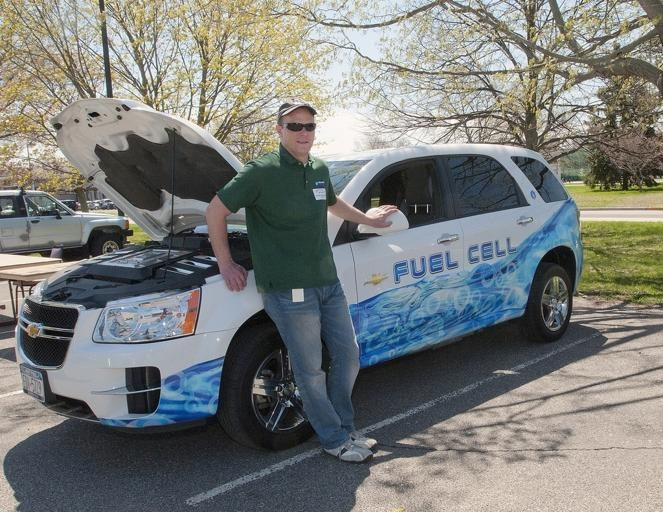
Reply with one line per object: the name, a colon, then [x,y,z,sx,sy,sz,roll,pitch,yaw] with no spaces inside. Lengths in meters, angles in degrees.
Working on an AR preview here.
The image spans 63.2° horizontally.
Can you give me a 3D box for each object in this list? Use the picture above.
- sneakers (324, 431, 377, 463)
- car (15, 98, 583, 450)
sneakers: [0.148,1.358,3.753,0.265,0.079,0.188,-4,6,20]
car: [-0.038,0.026,5.393,5.357,2.127,2.443,-4,4,-34]
